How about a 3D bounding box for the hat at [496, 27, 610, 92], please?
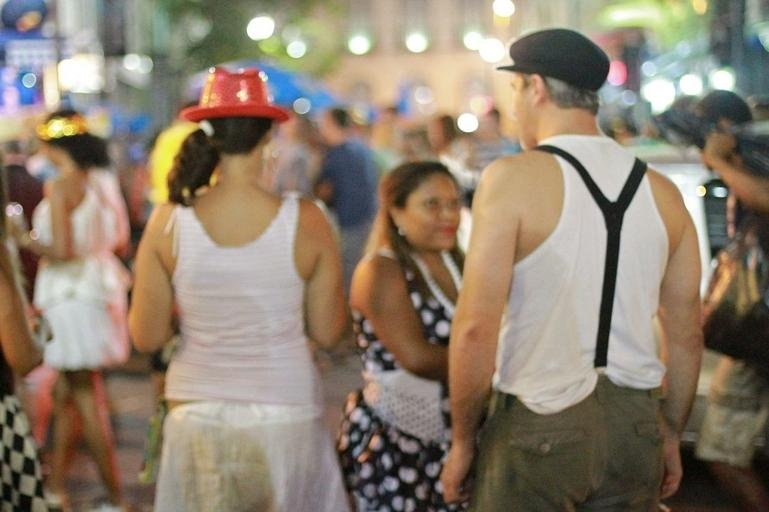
[{"bbox_3d":[0.901,-1.140,5.793,0.702,0.358,0.556,10,9,19],"label":"hat"}]
